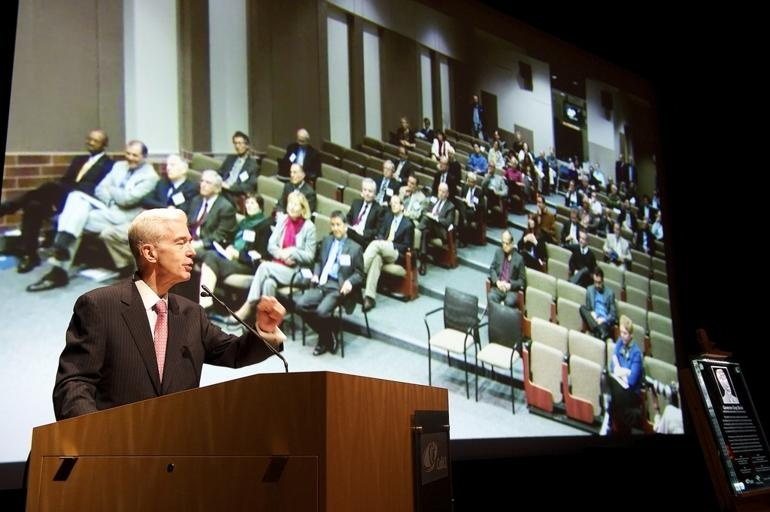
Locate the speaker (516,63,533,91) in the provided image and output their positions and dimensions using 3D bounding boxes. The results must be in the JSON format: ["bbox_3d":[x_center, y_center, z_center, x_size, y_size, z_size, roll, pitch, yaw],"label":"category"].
[{"bbox_3d":[1.268,-1.603,6.514,0.052,0.214,0.220,-1,-13,42],"label":"speaker"}]

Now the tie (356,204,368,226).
[{"bbox_3d":[-0.173,-0.333,5.770,0.035,0.165,0.088,8,5,40],"label":"tie"}]

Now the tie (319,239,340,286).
[{"bbox_3d":[-0.420,0.046,5.612,0.091,0.343,0.175,7,4,27],"label":"tie"}]

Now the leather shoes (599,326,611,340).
[{"bbox_3d":[1.963,0.677,6.414,0.078,0.143,0.143,11,-18,-7],"label":"leather shoes"}]

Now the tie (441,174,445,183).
[{"bbox_3d":[0.493,-0.651,6.099,0.033,0.052,0.011,-1,-3,-14],"label":"tie"}]

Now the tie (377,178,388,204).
[{"bbox_3d":[-0.020,-0.520,5.852,0.083,0.212,0.031,4,4,-24],"label":"tie"}]

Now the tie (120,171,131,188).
[{"bbox_3d":[-1.865,-0.549,5.197,0.077,0.113,0.022,2,5,-45],"label":"tie"}]

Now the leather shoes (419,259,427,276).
[{"bbox_3d":[0.309,0.093,5.870,0.061,0.120,0.031,4,4,-20],"label":"leather shoes"}]

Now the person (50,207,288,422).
[{"bbox_3d":[-1.155,0.294,3.649,0.905,1.052,0.325,4,4,-26],"label":"person"}]

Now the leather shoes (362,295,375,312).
[{"bbox_3d":[-0.131,0.369,5.620,0.059,0.115,0.146,-6,-15,27],"label":"leather shoes"}]

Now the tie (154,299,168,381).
[{"bbox_3d":[-1.121,0.410,3.648,0.058,0.386,0.046,2,-23,-8],"label":"tie"}]

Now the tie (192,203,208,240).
[{"bbox_3d":[-1.369,-0.245,5.365,0.137,0.215,0.075,0,-8,19],"label":"tie"}]
